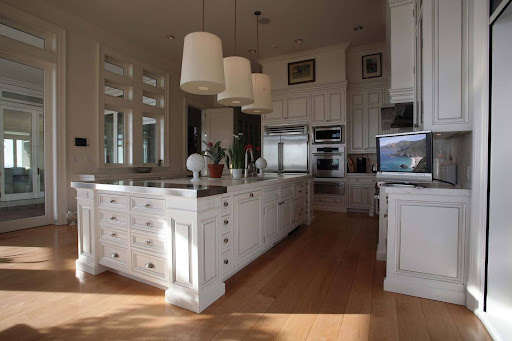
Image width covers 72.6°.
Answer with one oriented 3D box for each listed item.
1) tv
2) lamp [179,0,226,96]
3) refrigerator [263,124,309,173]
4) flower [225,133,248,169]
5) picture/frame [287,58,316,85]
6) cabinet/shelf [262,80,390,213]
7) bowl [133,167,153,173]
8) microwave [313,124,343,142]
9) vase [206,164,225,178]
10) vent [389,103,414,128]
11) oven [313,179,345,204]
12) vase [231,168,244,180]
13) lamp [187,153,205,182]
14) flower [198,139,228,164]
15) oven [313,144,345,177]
[{"bbox_3d":[1.748,-0.133,4.057,0.663,0.667,0.230,3,7,34],"label":"tv"},{"bbox_3d":[-0.671,-1.329,4.253,0.538,0.693,0.374,-4,3,-5],"label":"lamp"},{"bbox_3d":[0.712,-0.476,7.752,1.163,1.343,0.533,-1,-2,21],"label":"refrigerator"},{"bbox_3d":[-0.288,-0.232,5.058,0.291,0.533,0.242,-5,6,-31],"label":"flower"},{"bbox_3d":[1.043,-2.203,7.818,0.738,0.588,0.056,0,-6,22],"label":"picture/frame"},{"bbox_3d":[1.501,-0.479,6.919,3.065,2.883,0.818,0,-1,18],"label":"cabinet/shelf"},{"bbox_3d":[-2.487,-0.016,7.624,0.132,0.145,0.461,-2,3,32],"label":"bowl"},{"bbox_3d":[1.542,-0.770,7.431,0.596,0.361,0.346,0,-1,26],"label":"microwave"},{"bbox_3d":[-0.566,0.016,4.853,0.209,0.149,0.206,0,-2,12],"label":"vase"},{"bbox_3d":[2.151,-0.800,5.135,0.306,0.333,0.632,-3,3,22],"label":"vent"},{"bbox_3d":[1.568,0.443,7.479,0.823,0.555,0.445,-1,-3,25],"label":"oven"},{"bbox_3d":[-0.285,0.047,5.053,0.151,0.111,0.157,0,0,9],"label":"vase"},{"bbox_3d":[-0.746,-0.036,4.328,0.236,0.345,0.257,-1,-1,38],"label":"lamp"},{"bbox_3d":[-0.593,-0.254,4.799,0.360,0.249,0.384,-10,17,0],"label":"flower"},{"bbox_3d":[1.508,-0.172,7.682,0.764,0.698,0.542,-1,1,-11],"label":"oven"}]
